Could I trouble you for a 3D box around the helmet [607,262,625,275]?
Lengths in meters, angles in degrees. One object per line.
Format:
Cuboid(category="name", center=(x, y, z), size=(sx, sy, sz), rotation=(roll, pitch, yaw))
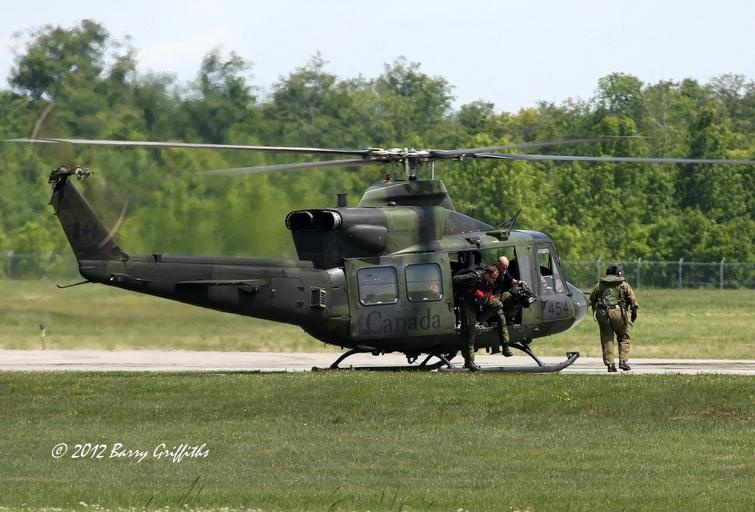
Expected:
Cuboid(category="helmet", center=(7.140, 0.345, 51.486), size=(0.465, 0.295, 0.315), rotation=(-4, 10, -24))
